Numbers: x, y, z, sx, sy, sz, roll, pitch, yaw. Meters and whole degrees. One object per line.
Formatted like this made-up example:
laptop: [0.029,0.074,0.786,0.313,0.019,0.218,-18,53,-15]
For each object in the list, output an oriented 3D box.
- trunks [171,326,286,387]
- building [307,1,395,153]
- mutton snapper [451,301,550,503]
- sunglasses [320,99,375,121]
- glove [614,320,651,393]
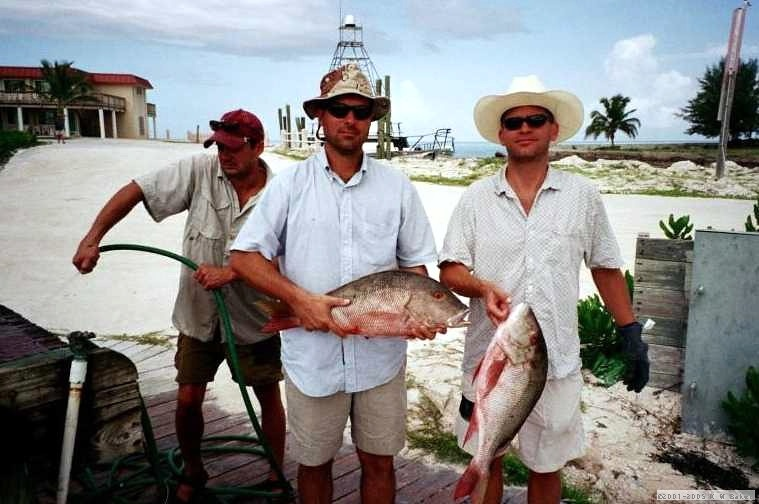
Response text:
trunks: [-1.254,0.841,4.130,0.833,0.557,0.312,-1,19,-13]
building: [-1.975,-11.470,35.474,6.946,9.363,7.094,12,16,43]
mutton snapper: [0.686,0.855,3.057,0.648,1.114,0.272,-10,16,-37]
sunglasses: [-0.209,-0.898,3.281,0.323,0.129,0.124,-2,12,-8]
glove: [1.798,0.743,3.682,0.311,0.450,0.155,0,5,7]
